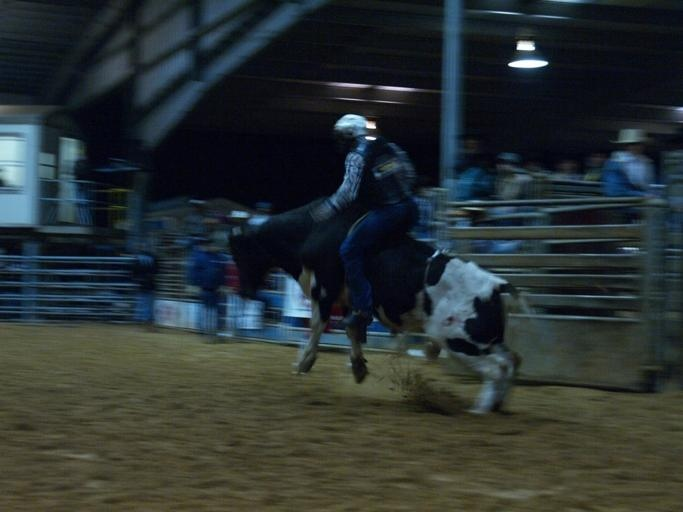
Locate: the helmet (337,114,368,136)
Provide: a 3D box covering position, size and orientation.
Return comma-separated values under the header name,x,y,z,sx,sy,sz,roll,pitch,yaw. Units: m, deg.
name,x,y,z,sx,sy,sz,roll,pitch,yaw
helmet,0.112,-1.579,10.455,0.404,0.250,0.334,2,14,-1
